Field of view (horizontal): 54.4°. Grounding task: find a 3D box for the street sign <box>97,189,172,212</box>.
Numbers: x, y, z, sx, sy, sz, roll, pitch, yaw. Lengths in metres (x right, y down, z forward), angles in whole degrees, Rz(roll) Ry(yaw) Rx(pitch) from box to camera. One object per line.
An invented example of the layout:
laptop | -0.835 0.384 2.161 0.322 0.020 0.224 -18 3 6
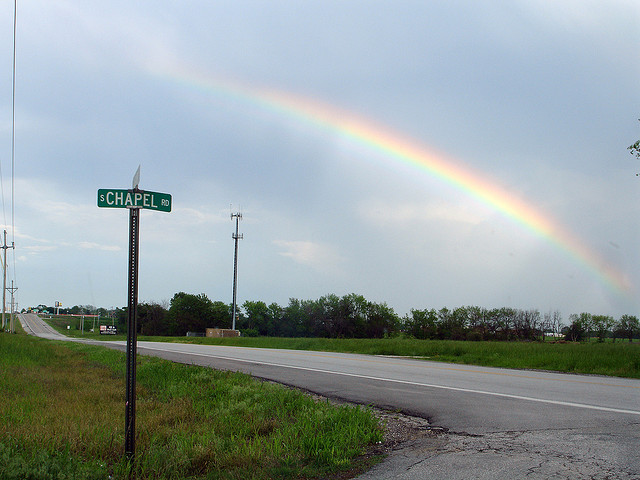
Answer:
street sign | -3.176 -0.682 10.413 0.837 0.278 0.161 2 -5 -2
